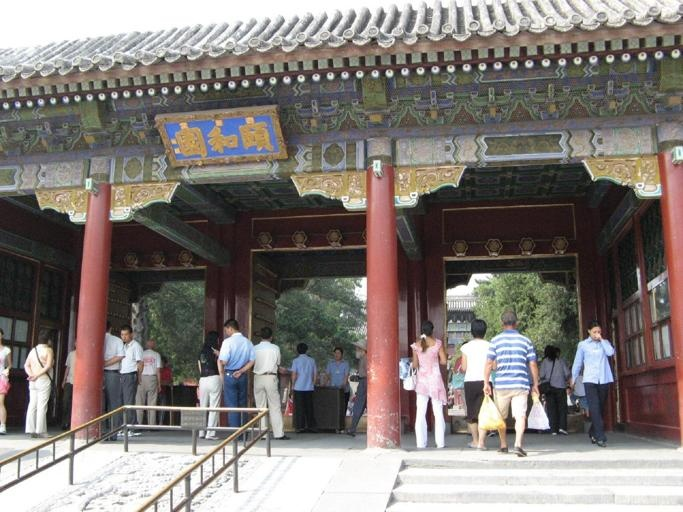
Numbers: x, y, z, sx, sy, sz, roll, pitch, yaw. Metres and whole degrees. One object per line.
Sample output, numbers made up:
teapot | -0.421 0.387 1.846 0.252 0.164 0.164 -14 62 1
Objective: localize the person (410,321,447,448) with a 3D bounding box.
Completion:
person | 1.172 1.654 8.871 0.464 1.635 0.697 -4 -10 5

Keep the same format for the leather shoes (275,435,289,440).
leather shoes | -0.838 2.590 9.681 0.188 0.080 0.071 1 -8 -2

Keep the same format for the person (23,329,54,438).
person | -4.375 1.832 9.804 0.330 1.511 0.402 3 -12 -30

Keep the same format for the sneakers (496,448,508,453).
sneakers | 1.854 2.216 7.788 0.062 0.059 0.137 14 -14 -22

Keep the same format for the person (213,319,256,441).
person | -1.418 1.599 9.423 0.559 1.502 0.989 1 -11 -21

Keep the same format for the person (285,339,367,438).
person | -0.407 2.164 11.056 0.760 1.397 1.332 -8 -12 25

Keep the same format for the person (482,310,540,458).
person | 2.000 1.472 7.863 0.607 1.699 0.687 7 -15 -21

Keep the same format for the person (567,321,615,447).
person | 3.251 1.626 8.684 0.583 1.562 0.555 -4 -10 8

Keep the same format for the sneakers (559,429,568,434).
sneakers | 3.456 2.731 10.544 0.064 0.051 0.160 35 -26 -33

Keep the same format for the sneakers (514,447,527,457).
sneakers | 2.035 2.198 7.591 0.170 0.079 0.066 32 -21 -19

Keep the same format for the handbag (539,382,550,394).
handbag | 3.236 2.038 10.776 0.142 0.231 0.258 -3 -4 26

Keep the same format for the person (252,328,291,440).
person | -1.019 1.816 9.702 0.491 1.583 0.372 2 -11 -24

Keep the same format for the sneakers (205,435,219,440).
sneakers | -1.826 2.569 9.607 0.207 0.093 0.076 -2 -24 6
